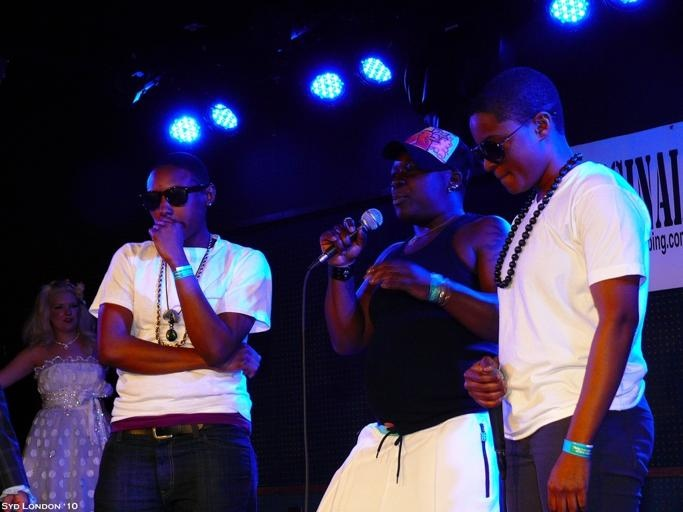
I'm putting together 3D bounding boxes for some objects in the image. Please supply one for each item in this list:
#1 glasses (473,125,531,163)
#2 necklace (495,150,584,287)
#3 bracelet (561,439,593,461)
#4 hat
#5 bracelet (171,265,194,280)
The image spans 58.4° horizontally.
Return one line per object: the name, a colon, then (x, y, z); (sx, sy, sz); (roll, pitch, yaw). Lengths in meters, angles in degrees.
glasses: (0.543, -0.379, 2.131); (0.126, 0.042, 0.122); (-31, 3, -24)
necklace: (0.638, -0.114, 2.079); (0.046, 0.452, 0.337); (27, -2, -7)
bracelet: (0.659, 0.540, 1.707); (0.054, 0.029, 0.057); (9, -5, 4)
hat: (0.390, -0.466, 2.787); (0.317, 0.188, 0.225); (24, -3, -20)
bracelet: (-0.717, 0.073, 2.751); (0.066, 0.049, 0.069); (-8, -3, -7)
